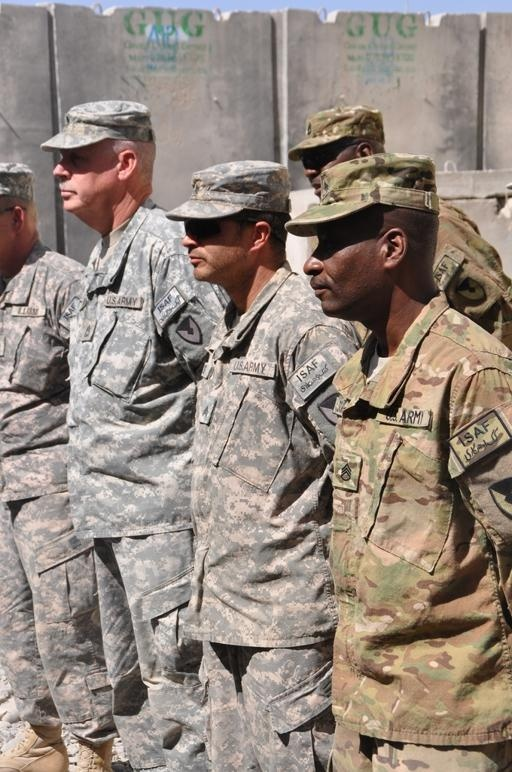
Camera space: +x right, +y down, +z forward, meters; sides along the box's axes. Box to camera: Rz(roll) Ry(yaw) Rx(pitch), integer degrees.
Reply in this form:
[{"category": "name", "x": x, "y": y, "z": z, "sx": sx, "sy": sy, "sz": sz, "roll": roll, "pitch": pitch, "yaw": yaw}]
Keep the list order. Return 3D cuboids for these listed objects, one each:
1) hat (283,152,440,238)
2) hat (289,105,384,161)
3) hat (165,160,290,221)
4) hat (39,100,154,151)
[{"category": "hat", "x": 0.242, "y": -0.423, "z": 2.413, "sx": 0.253, "sy": 0.080, "sz": 0.183, "roll": -10, "pitch": 3, "yaw": -5}, {"category": "hat", "x": 0.385, "y": -1.136, "z": 4.936, "sx": 0.354, "sy": 0.147, "sz": 0.251, "roll": -2, "pitch": -4, "yaw": -6}, {"category": "hat", "x": -0.072, "y": -0.535, "z": 3.158, "sx": 0.294, "sy": 0.115, "sz": 0.197, "roll": -1, "pitch": 1, "yaw": -16}, {"category": "hat", "x": -0.535, "y": -0.909, "z": 3.864, "sx": 0.307, "sy": 0.105, "sz": 0.230, "roll": -12, "pitch": 15, "yaw": -29}]
